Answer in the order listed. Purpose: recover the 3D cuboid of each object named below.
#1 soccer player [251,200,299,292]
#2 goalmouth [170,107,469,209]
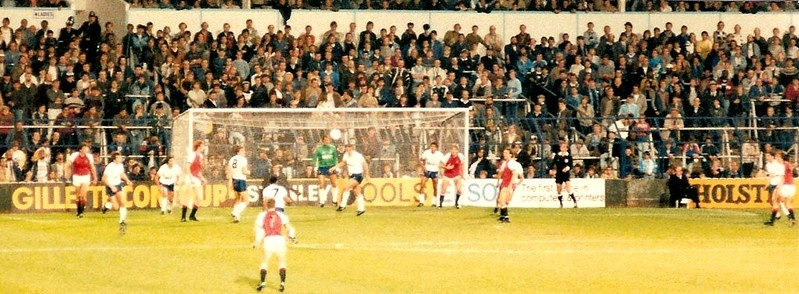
[{"bbox_3d":[-9.119,6.592,94.592,2.834,6.247,4.077,0,-1,-25],"label":"soccer player"},{"bbox_3d":[-6.279,-0.113,105.830,21.474,6.070,1.121,-1,-1,-4],"label":"goalmouth"}]
